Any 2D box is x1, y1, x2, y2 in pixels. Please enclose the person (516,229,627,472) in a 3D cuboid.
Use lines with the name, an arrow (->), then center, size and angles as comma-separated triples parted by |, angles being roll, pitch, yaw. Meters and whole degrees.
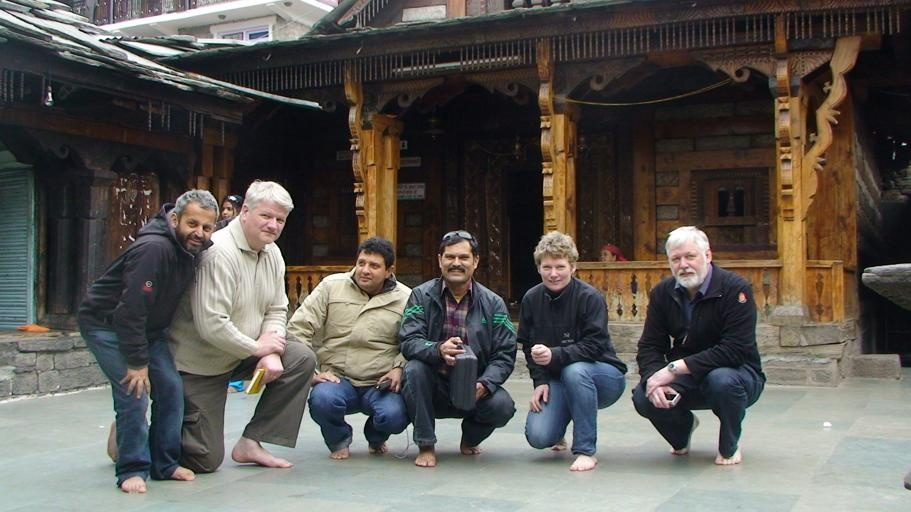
person -> 1.210, 0.953, 7.943 | 1.123, 2.379, 0.740 | 0, 6, 9

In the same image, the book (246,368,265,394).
book -> -1.989, 1.272, 7.585 | 0.073, 0.232, 0.260 | 22, 1, -6

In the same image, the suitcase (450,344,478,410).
suitcase -> 0.086, 1.237, 7.704 | 0.294, 0.668, 0.758 | 1, 1, -3

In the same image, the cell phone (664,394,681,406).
cell phone -> 2.261, 1.489, 7.813 | 0.179, 0.137, 0.076 | -3, 6, -22

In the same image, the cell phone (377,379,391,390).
cell phone -> -0.754, 1.376, 8.064 | 0.142, 0.092, 0.042 | -19, 34, 14

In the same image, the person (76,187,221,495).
person -> -2.972, 0.802, 7.412 | 1.226, 2.838, 0.623 | -3, 6, -22

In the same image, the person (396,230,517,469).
person -> 0.032, 0.955, 7.974 | 1.227, 2.408, 0.670 | -1, 6, -3
